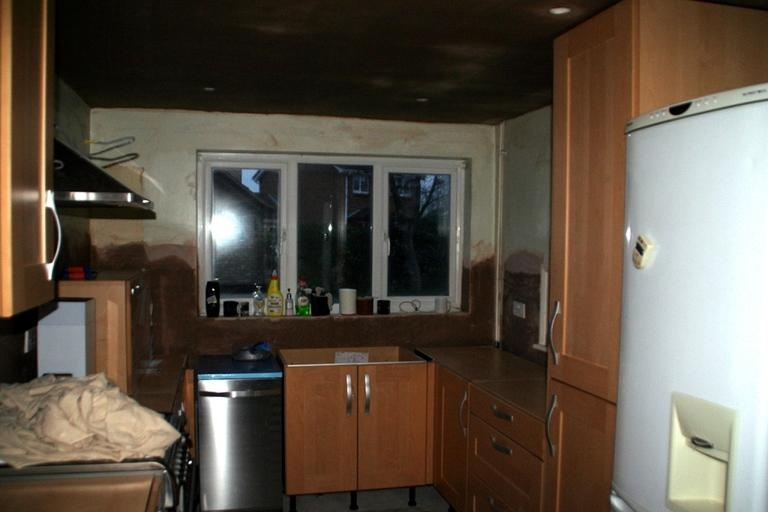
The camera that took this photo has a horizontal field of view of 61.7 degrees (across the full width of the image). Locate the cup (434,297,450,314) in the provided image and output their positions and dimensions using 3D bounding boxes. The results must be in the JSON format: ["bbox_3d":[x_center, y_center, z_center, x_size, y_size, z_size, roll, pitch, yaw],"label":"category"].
[{"bbox_3d":[0.443,0.381,4.855,0.122,0.106,0.093,1,0,-19],"label":"cup"}]

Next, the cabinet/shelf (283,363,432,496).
[{"bbox_3d":[-0.226,1.140,4.371,1.005,0.806,0.436,3,-7,-22],"label":"cabinet/shelf"}]

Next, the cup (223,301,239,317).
[{"bbox_3d":[-1.081,0.369,4.514,0.106,0.113,0.064,-2,0,-9],"label":"cup"}]

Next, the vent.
[{"bbox_3d":[-1.446,-0.349,3.325,0.460,0.352,1.355,-2,0,-25],"label":"vent"}]

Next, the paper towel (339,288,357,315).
[{"bbox_3d":[-0.268,0.342,4.746,0.162,0.183,0.164,0,0,27],"label":"paper towel"}]

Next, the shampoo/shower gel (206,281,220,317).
[{"bbox_3d":[-1.203,0.295,4.495,0.115,0.262,0.097,-1,15,-19],"label":"shampoo/shower gel"}]

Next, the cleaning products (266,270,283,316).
[{"bbox_3d":[-0.790,0.264,4.598,0.129,0.327,0.199,-2,0,-10],"label":"cleaning products"}]

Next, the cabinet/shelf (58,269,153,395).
[{"bbox_3d":[-1.433,0.357,3.544,0.506,0.691,0.925,1,0,-9],"label":"cabinet/shelf"}]

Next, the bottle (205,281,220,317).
[{"bbox_3d":[-1.197,0.300,4.470,0.095,0.265,0.103,-2,0,0],"label":"bottle"}]

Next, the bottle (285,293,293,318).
[{"bbox_3d":[-0.693,0.335,4.660,0.062,0.174,0.093,-2,0,-8],"label":"bottle"}]
